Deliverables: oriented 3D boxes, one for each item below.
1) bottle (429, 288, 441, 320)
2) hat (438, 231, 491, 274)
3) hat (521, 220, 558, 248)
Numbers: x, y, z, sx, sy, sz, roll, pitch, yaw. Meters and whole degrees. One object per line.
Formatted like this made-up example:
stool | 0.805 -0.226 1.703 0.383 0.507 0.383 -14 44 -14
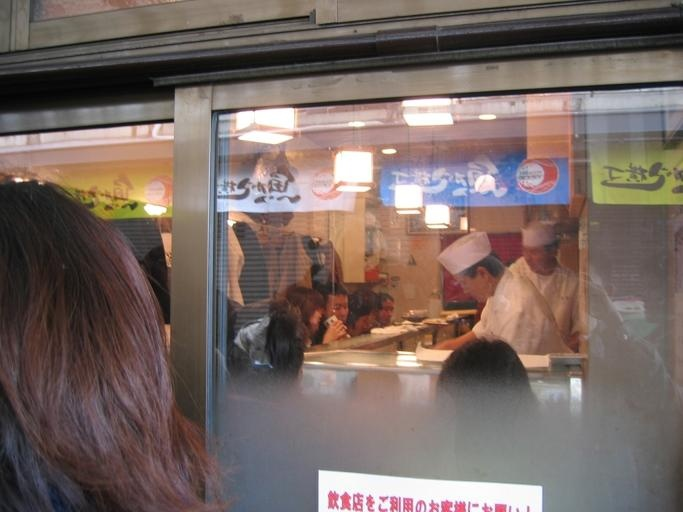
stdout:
bottle | 0.359 0.175 2.960 0.038 0.117 0.100 2 7 25
hat | 0.481 -0.024 2.992 0.188 0.096 0.154 -34 1 19
hat | 0.746 -0.087 2.923 0.104 0.075 0.105 1 5 26
